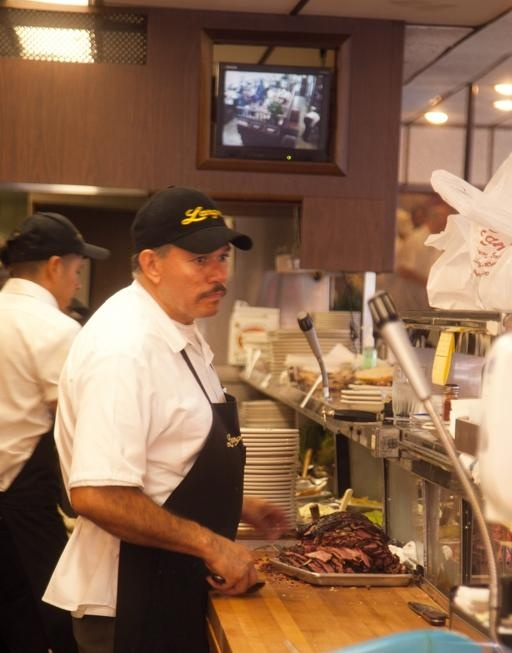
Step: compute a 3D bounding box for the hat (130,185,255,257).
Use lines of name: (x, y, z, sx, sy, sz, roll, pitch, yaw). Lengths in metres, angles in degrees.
hat: (-0.178, -0.266, 1.625, 0.315, 0.163, 0.215, 3, 14, 45)

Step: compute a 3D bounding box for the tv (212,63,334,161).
tv: (0.043, -0.881, 2.629, 0.437, 0.295, 0.044, 1, 5, -5)
